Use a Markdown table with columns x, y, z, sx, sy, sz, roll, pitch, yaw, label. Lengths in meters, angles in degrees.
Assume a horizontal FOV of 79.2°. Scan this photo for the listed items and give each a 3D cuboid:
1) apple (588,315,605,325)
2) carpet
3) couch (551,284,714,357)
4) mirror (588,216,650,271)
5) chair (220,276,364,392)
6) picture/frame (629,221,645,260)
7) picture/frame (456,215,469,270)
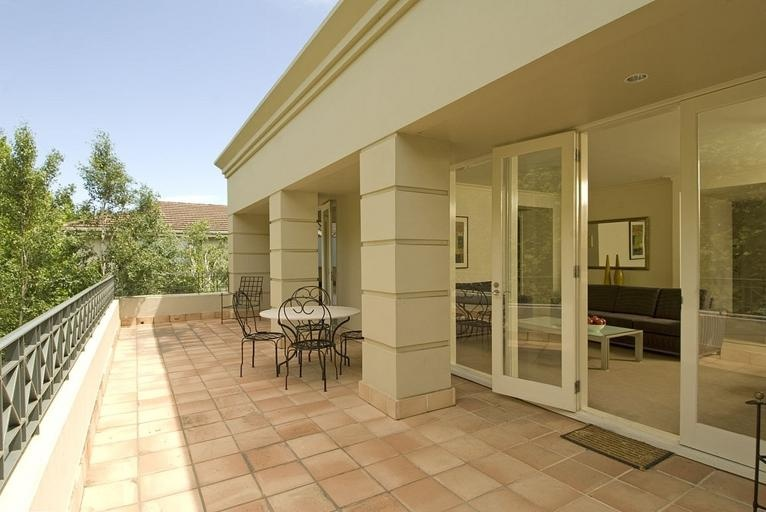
| x | y | z | sx | sy | sz | roll | pitch | yaw | label |
| --- | --- | --- | --- | --- | --- | --- | --- | --- | --- |
| 2.954 | 0.898 | 6.423 | 0.194 | 0.103 | 0.191 | 1 | 0 | 5 | apple |
| 2.173 | 1.771 | 4.315 | 0.852 | 0.024 | 0.425 | 10 | 17 | 40 | carpet |
| 3.948 | 0.970 | 7.481 | 0.697 | 0.859 | 2.157 | -4 | 1 | -23 | couch |
| 4.392 | -0.222 | 8.569 | 0.060 | 0.940 | 1.167 | -2 | 2 | -27 | mirror |
| -1.124 | 1.117 | 6.691 | 1.684 | 1.475 | 1.754 | 3 | 2 | -32 | chair |
| 4.584 | -0.265 | 8.294 | 0.313 | 0.682 | 0.168 | 10 | 19 | 38 | picture/frame |
| 1.425 | -0.212 | 8.592 | 0.049 | 0.941 | 0.537 | 0 | 2 | 37 | picture/frame |
